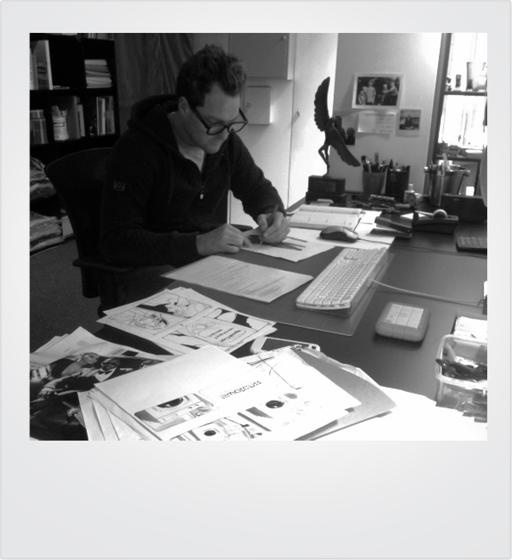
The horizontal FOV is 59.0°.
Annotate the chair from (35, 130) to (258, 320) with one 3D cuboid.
[{"bbox_3d":[-0.256,-0.157,1.298,0.387,0.648,0.386,14,28,27],"label":"chair"}]

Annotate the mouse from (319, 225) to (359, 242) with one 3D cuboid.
[{"bbox_3d":[0.243,-0.135,1.264,0.078,0.028,0.052,4,30,3],"label":"mouse"}]

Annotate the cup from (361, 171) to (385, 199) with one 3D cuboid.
[{"bbox_3d":[0.445,-0.360,1.724,0.076,0.100,0.085,0,12,2],"label":"cup"}]

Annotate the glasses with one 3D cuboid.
[{"bbox_3d":[-0.128,-0.536,1.426,0.158,0.052,0.186,-13,64,-27],"label":"glasses"}]
